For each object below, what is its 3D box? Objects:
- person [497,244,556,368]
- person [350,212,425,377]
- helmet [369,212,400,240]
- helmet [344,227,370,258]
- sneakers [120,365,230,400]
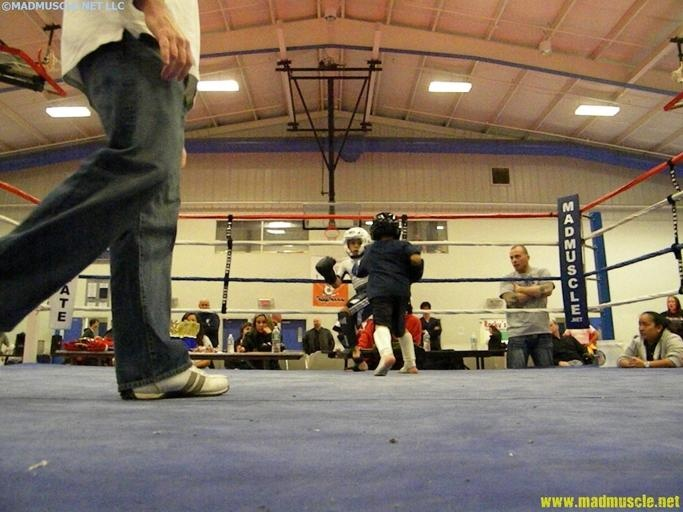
[{"bbox_3d":[1.524,0.404,4.268,0.425,1.018,0.680,-5,-8,19],"label":"person"},{"bbox_3d":[0.300,0.206,3.272,0.429,1.056,0.655,-2,-8,2],"label":"person"},{"bbox_3d":[0.283,-0.207,3.525,0.184,0.171,0.200,2,20,-2],"label":"helmet"},{"bbox_3d":[0.122,-0.113,4.349,0.232,0.227,0.269,3,22,12],"label":"helmet"},{"bbox_3d":[-0.534,0.390,1.662,0.316,0.104,0.106,-1,-2,-23],"label":"sneakers"}]
